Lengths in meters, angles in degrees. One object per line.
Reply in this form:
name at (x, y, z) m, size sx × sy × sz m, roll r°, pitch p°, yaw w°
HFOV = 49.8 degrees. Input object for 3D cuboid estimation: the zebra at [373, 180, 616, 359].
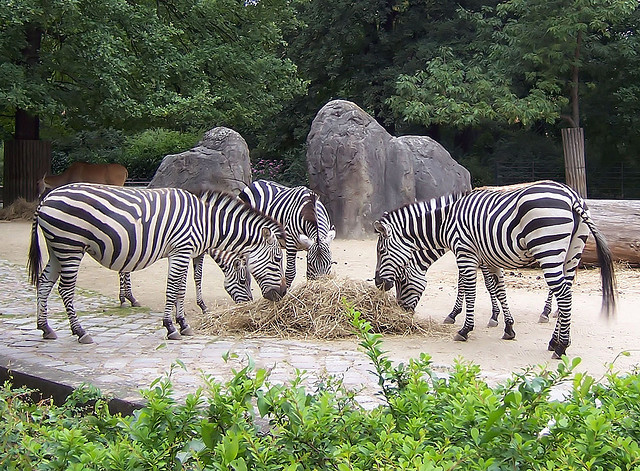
zebra at (1.754, 0.252, 7.414) m, size 2.195 × 1.701 × 0.751 m, roll 6°, pitch 6°, yaw 38°

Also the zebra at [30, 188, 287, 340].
zebra at (-1.679, 0.269, 7.371) m, size 2.489 × 1.501 × 0.702 m, roll 0°, pitch 5°, yaw -19°
